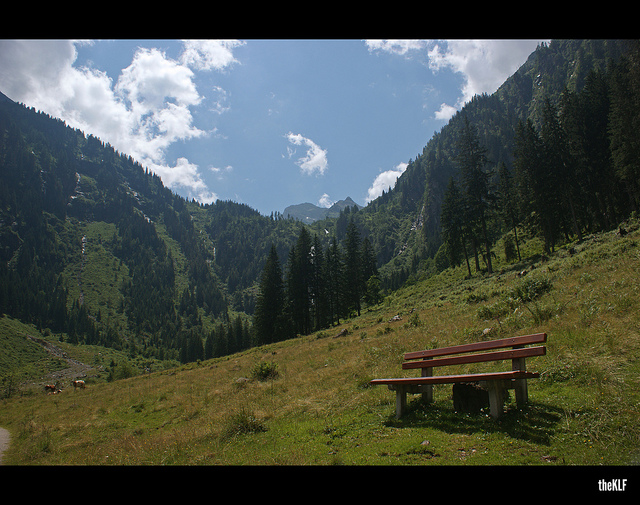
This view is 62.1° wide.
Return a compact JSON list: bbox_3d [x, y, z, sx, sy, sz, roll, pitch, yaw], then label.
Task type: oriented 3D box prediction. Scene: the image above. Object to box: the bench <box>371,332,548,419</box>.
[{"bbox_3d":[4.511,4.330,18.112,2.287,2.806,6.168,10,-18,-34],"label":"bench"}]
